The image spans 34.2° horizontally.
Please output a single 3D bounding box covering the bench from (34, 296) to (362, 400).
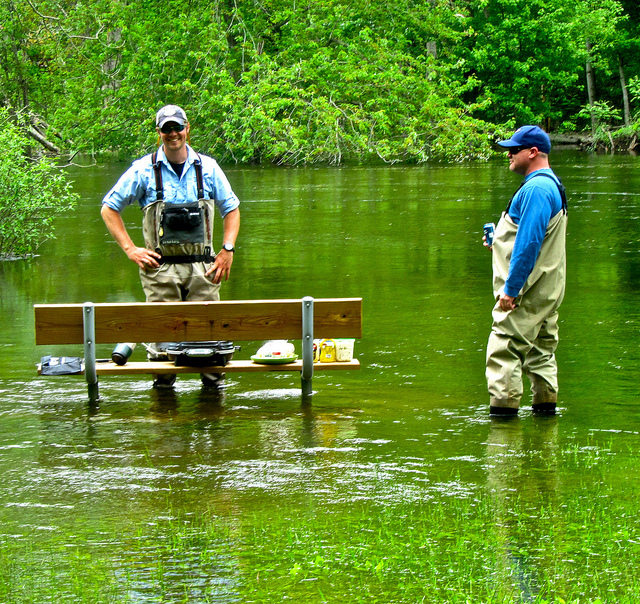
[{"bbox_3d":[-0.813,0.329,6.869,2.375,0.682,1.259,1,9,-7],"label":"bench"}]

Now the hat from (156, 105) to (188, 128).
[{"bbox_3d":[-0.965,-1.206,6.766,0.177,0.097,0.204,-7,-12,-2],"label":"hat"}]

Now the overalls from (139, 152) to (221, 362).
[{"bbox_3d":[-1.145,-0.350,7.181,0.702,1.211,0.569,0,19,-16],"label":"overalls"}]

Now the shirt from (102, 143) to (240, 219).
[{"bbox_3d":[-1.009,-0.733,6.977,0.998,0.525,0.269,-1,17,-32],"label":"shirt"}]

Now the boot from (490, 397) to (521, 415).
[{"bbox_3d":[1.165,0.649,6.516,0.147,0.083,0.138,1,-1,-13],"label":"boot"}]

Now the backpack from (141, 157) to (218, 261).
[{"bbox_3d":[-0.939,-0.599,6.951,0.470,0.713,0.259,-4,16,-7],"label":"backpack"}]

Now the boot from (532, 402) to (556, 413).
[{"bbox_3d":[1.443,0.671,6.624,0.172,0.077,0.075,0,-7,7],"label":"boot"}]

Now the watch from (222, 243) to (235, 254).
[{"bbox_3d":[-0.606,-0.358,7.022,0.088,0.036,0.069,2,9,-18],"label":"watch"}]

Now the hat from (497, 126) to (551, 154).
[{"bbox_3d":[1.246,-0.998,6.378,0.343,0.119,0.180,1,4,5],"label":"hat"}]
